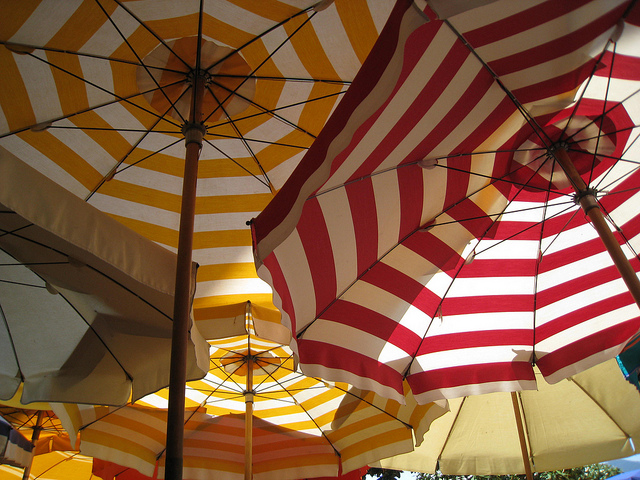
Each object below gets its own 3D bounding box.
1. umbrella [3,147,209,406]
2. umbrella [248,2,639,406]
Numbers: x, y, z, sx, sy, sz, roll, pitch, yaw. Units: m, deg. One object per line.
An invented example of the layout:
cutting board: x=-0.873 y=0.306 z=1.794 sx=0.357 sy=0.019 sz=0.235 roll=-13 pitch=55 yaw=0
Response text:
umbrella: x=-2.615 y=0.952 z=6.315 sx=2.167 sy=1.746 sz=2.698 roll=20 pitch=-47 yaw=-24
umbrella: x=1.504 y=-0.903 z=8.761 sx=4.519 sy=4.685 sz=4.783 roll=-10 pitch=-71 yaw=-3
